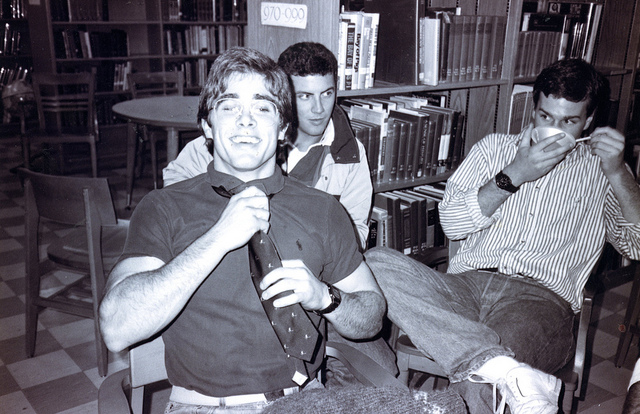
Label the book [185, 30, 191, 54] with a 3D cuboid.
[{"bbox_3d":[-1.815,-2.245,6.850,0.074,0.301,0.024,-4,18,-21],"label":"book"}]

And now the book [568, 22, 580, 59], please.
[{"bbox_3d":[1.925,-1.261,3.796,0.086,0.247,0.031,-9,20,-33],"label":"book"}]

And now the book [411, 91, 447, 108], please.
[{"bbox_3d":[0.789,-0.763,3.541,0.183,0.040,0.177,-13,31,-35],"label":"book"}]

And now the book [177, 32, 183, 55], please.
[{"bbox_3d":[-1.910,-2.204,6.792,0.022,0.273,0.068,15,21,37],"label":"book"}]

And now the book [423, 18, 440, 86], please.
[{"bbox_3d":[0.684,-0.948,3.100,0.104,0.394,0.069,3,17,3],"label":"book"}]

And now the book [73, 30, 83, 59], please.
[{"bbox_3d":[-3.017,-2.003,6.212,0.074,0.286,0.300,-3,13,-9],"label":"book"}]

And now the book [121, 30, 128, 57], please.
[{"bbox_3d":[-2.565,-2.121,6.549,0.056,0.305,0.105,7,17,14],"label":"book"}]

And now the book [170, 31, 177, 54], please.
[{"bbox_3d":[-1.982,-2.199,6.752,0.023,0.287,0.083,15,21,36],"label":"book"}]

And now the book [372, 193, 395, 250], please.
[{"bbox_3d":[0.400,0.100,3.181,0.180,0.256,0.287,-6,22,-11],"label":"book"}]

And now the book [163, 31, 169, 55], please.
[{"bbox_3d":[-2.076,-2.174,6.687,0.035,0.294,0.089,11,19,28],"label":"book"}]

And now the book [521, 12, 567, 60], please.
[{"bbox_3d":[1.554,-1.240,3.559,0.269,0.215,0.059,8,0,-14],"label":"book"}]

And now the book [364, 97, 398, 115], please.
[{"bbox_3d":[0.416,-0.692,3.347,0.150,0.039,0.137,-13,30,-35],"label":"book"}]

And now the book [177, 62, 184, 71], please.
[{"bbox_3d":[-1.900,-1.912,6.867,0.110,0.146,0.085,6,8,29],"label":"book"}]

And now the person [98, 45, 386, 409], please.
[{"bbox_3d":[-0.267,0.099,1.973,1.044,1.384,0.600,4,16,6],"label":"person"}]

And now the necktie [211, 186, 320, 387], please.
[{"bbox_3d":[-0.165,0.288,1.858,0.264,0.724,0.055,-14,-4,-6],"label":"necktie"}]

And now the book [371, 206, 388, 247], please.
[{"bbox_3d":[0.374,0.132,3.188,0.036,0.236,0.212,-18,27,-29],"label":"book"}]

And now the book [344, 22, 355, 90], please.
[{"bbox_3d":[0.167,-0.870,2.913,0.068,0.373,0.042,-4,18,-19],"label":"book"}]

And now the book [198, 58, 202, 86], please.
[{"bbox_3d":[-1.693,-1.867,7.012,0.049,0.354,0.085,0,17,-6],"label":"book"}]

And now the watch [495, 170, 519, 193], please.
[{"bbox_3d":[0.978,-0.127,2.659,0.123,0.067,0.087,-1,42,-49],"label":"watch"}]

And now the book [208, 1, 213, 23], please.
[{"bbox_3d":[-1.510,-2.672,6.885,0.070,0.264,0.053,-7,19,-28],"label":"book"}]

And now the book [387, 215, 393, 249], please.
[{"bbox_3d":[0.452,0.160,3.232,0.054,0.221,0.014,-5,18,-22],"label":"book"}]

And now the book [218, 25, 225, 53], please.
[{"bbox_3d":[-1.408,-2.359,7.060,0.085,0.364,0.151,2,16,-2],"label":"book"}]

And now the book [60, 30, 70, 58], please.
[{"bbox_3d":[-3.130,-1.976,6.124,0.076,0.297,0.025,3,17,1],"label":"book"}]

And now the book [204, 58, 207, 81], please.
[{"bbox_3d":[-1.626,-1.950,7.077,0.042,0.230,0.061,-2,17,-14],"label":"book"}]

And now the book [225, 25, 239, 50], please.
[{"bbox_3d":[-1.252,-2.415,7.135,0.195,0.313,0.147,-10,21,-37],"label":"book"}]

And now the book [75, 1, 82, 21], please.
[{"bbox_3d":[-2.978,-2.392,6.134,0.021,0.209,0.057,11,18,26],"label":"book"}]

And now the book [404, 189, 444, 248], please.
[{"bbox_3d":[0.674,0.068,3.305,0.253,0.299,0.326,-8,17,-25],"label":"book"}]

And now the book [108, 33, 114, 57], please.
[{"bbox_3d":[-2.709,-2.073,6.462,0.058,0.276,0.014,-12,22,-41],"label":"book"}]

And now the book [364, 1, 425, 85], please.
[{"bbox_3d":[0.465,-1.008,3.076,0.499,0.607,0.070,15,26,38],"label":"book"}]

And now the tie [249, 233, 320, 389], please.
[{"bbox_3d":[-0.116,0.403,1.932,0.187,0.696,0.062,-22,6,2],"label":"tie"}]

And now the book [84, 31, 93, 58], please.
[{"bbox_3d":[-2.916,-2.017,6.261,0.102,0.254,0.270,-7,58,-18],"label":"book"}]

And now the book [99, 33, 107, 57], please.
[{"bbox_3d":[-2.789,-2.058,6.401,0.088,0.283,0.026,-13,22,-42],"label":"book"}]

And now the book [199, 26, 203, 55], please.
[{"bbox_3d":[-1.663,-2.292,6.932,0.035,0.361,0.058,6,17,11],"label":"book"}]

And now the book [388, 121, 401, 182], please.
[{"bbox_3d":[0.471,-0.341,3.191,0.066,0.371,0.025,-9,20,-33],"label":"book"}]

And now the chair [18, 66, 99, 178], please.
[{"bbox_3d":[-2.651,-0.819,5.160,0.814,1.046,0.738,-7,21,-28],"label":"chair"}]

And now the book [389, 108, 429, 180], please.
[{"bbox_3d":[0.562,-0.410,3.228,0.287,0.357,0.390,-5,19,-19],"label":"book"}]

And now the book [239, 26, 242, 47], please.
[{"bbox_3d":[-1.150,-2.451,7.195,0.042,0.239,0.025,-5,18,-23],"label":"book"}]

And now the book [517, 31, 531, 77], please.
[{"bbox_3d":[1.388,-1.034,3.419,0.088,0.290,0.020,-8,19,-31],"label":"book"}]

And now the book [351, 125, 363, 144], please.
[{"bbox_3d":[0.212,-0.436,3.047,0.083,0.095,0.085,9,17,22],"label":"book"}]
